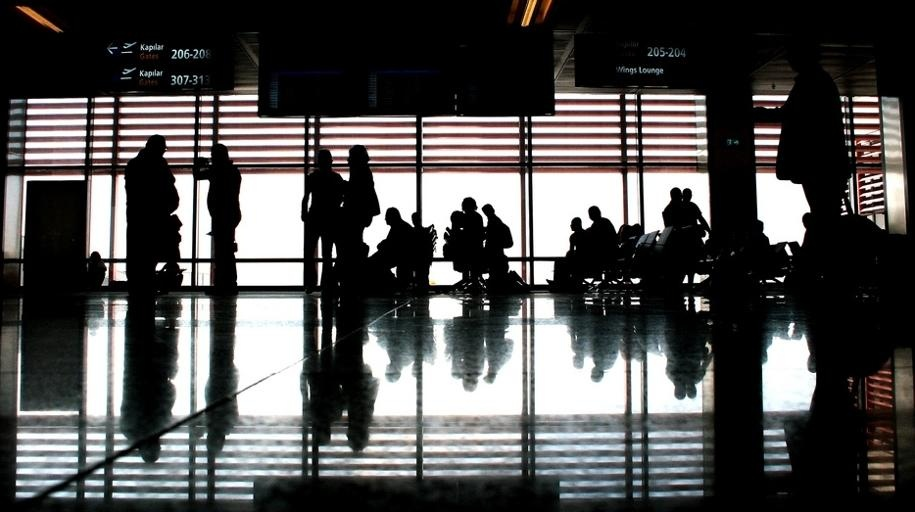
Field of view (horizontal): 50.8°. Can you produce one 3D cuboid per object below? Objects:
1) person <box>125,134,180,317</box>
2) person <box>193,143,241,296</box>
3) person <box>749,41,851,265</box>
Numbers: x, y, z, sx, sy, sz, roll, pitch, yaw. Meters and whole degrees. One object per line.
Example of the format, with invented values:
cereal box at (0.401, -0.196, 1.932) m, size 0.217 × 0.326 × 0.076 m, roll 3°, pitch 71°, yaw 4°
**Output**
person at (-5.085, -0.627, 15.993) m, size 0.763 × 2.753 × 0.490 m, roll 0°, pitch 9°, yaw -27°
person at (-4.441, -0.671, 17.878) m, size 0.748 × 2.762 × 0.464 m, roll 2°, pitch 8°, yaw -11°
person at (5.565, -1.654, 15.039) m, size 1.102 × 3.370 × 0.218 m, roll 5°, pitch 8°, yaw 14°
